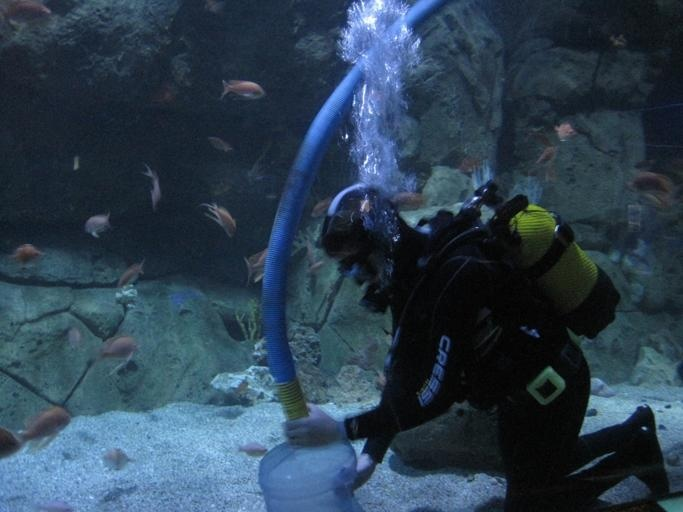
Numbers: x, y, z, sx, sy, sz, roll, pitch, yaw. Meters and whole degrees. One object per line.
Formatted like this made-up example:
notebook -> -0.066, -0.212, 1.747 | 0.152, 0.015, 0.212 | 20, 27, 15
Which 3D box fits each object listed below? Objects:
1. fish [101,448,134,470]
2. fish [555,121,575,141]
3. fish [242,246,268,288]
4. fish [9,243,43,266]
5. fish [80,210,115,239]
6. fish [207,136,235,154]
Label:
fish -> -2.716, 2.446, 7.887 | 0.215, 0.125, 0.213 | 8, -3, 14
fish -> 3.249, -1.799, 9.484 | 0.227, 0.236, 0.096 | -4, -27, 23
fish -> -1.436, 0.138, 10.785 | 0.305, 0.619, 0.624 | 15, 11, -5
fish -> -4.879, -0.020, 10.044 | 0.705, 0.401, 0.175 | -5, 23, 41
fish -> -3.884, -0.523, 10.342 | 0.139, 0.314, 0.606 | 26, 31, 14
fish -> -1.931, -1.758, 10.203 | 0.441, 0.287, 0.135 | 19, -10, 45
